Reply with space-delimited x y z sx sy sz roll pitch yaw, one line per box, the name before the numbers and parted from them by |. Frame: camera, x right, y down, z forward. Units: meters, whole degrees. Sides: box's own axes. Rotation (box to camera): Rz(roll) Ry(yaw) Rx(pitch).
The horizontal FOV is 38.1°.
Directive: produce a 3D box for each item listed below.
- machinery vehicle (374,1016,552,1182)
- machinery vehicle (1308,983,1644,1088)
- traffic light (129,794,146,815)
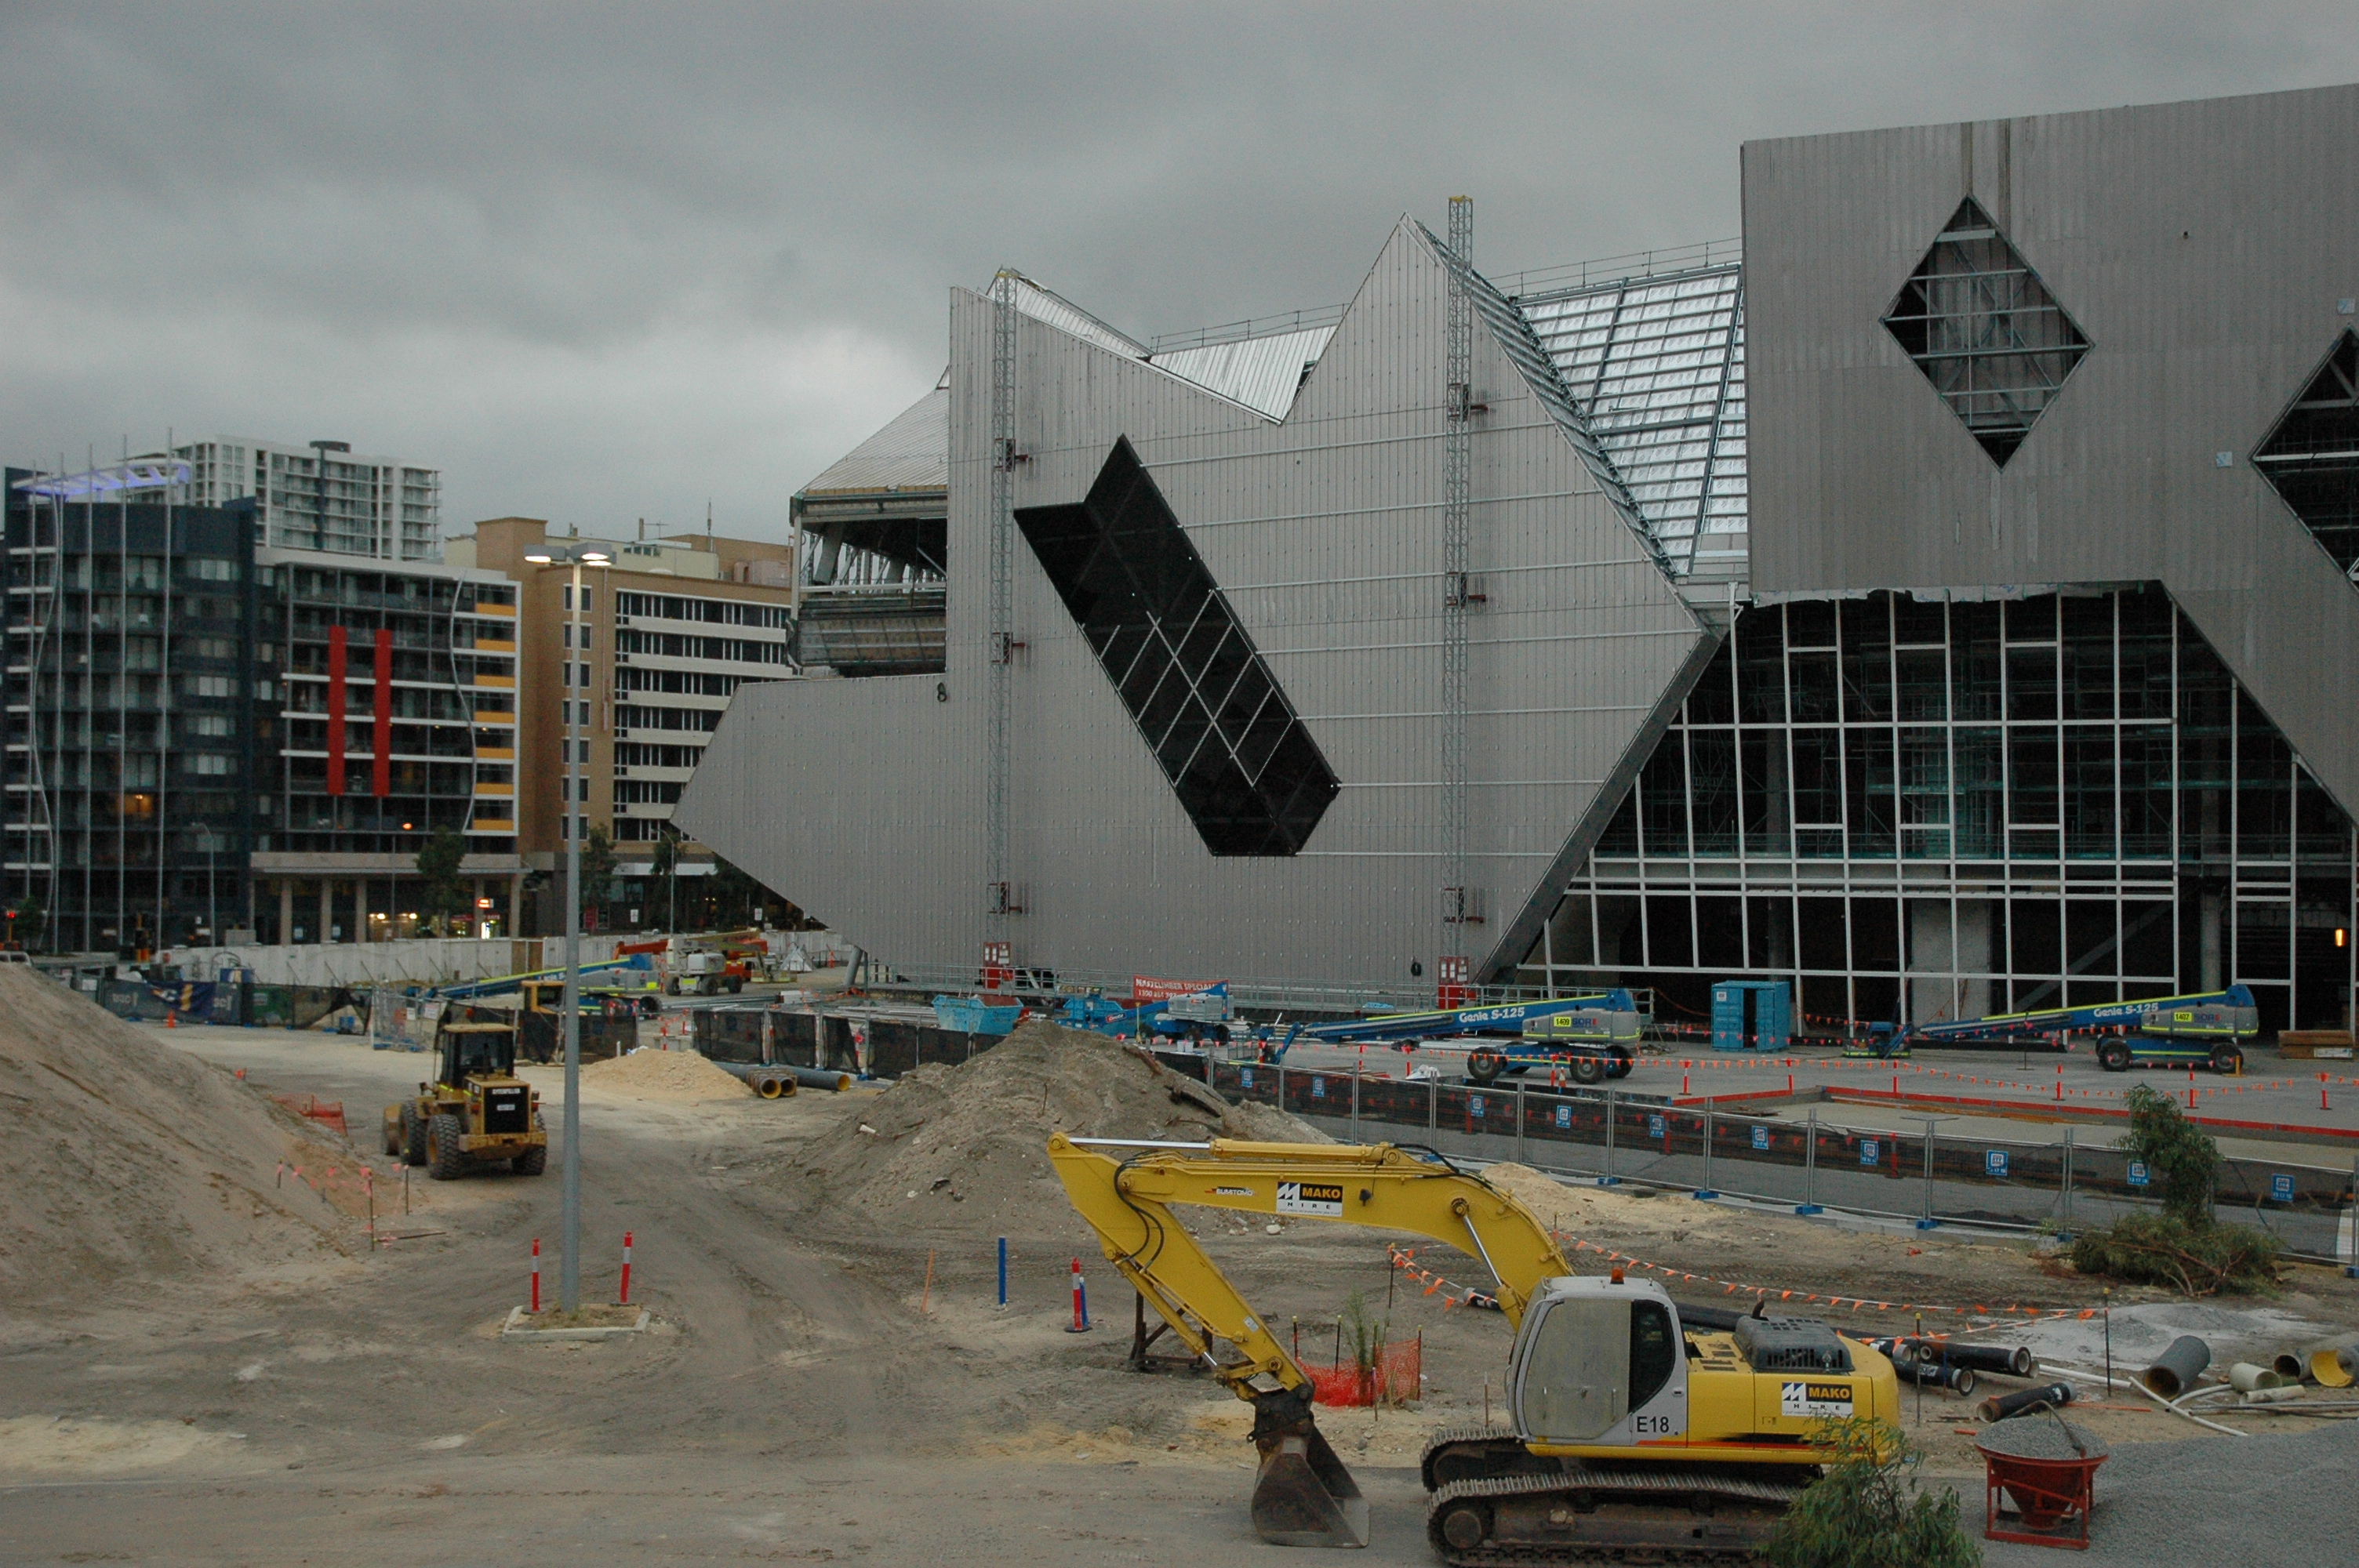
machinery vehicle | -21.935 9.404 104.971 3.752 4.952 7.581 -1 2 -28
machinery vehicle | 11.609 8.973 119.903 15.501 4.580 4.276 0 -4 18
traffic light | -57.456 1.275 187.926 0.971 1.148 0.363 2 -7 -25
